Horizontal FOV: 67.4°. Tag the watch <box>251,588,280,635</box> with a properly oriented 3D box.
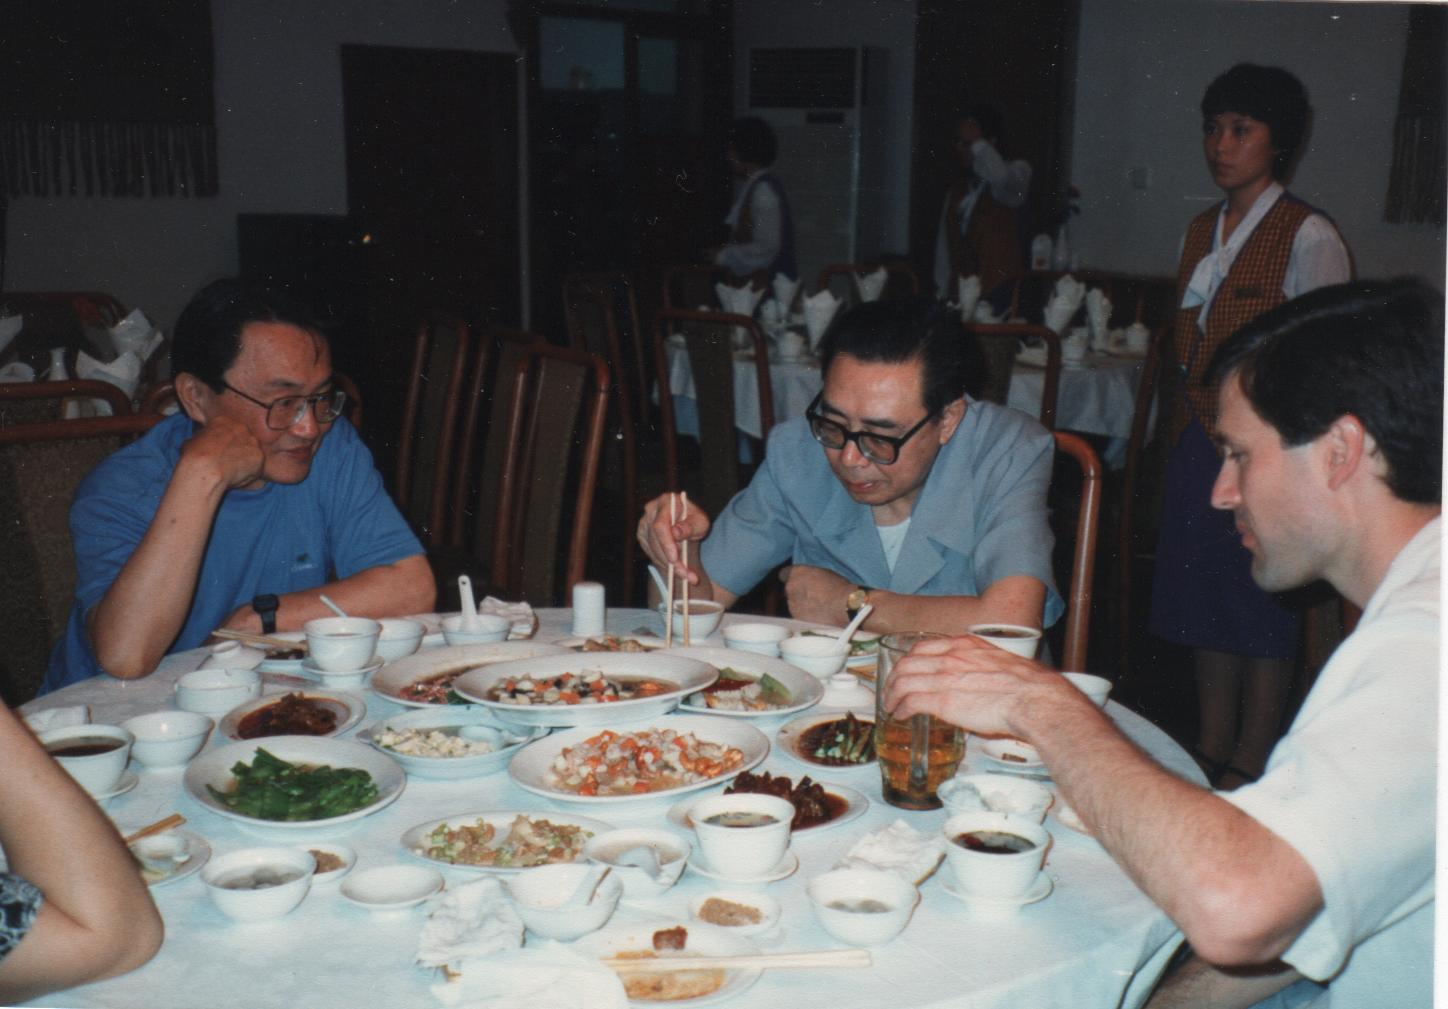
[{"bbox_3d":[-0.926,0.214,2.225,0.055,0.084,0.081,12,14,-4],"label":"watch"}]

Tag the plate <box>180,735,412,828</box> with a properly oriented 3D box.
[{"bbox_3d":[-0.610,0.396,1.543,0.162,0.036,0.157,3,17,-6],"label":"plate"}]

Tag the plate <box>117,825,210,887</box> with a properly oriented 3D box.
[{"bbox_3d":[-0.722,0.457,1.405,0.062,0.010,0.062,8,16,9],"label":"plate"}]

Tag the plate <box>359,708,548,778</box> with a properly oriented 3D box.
[{"bbox_3d":[-0.419,0.366,1.680,0.158,0.032,0.136,-1,4,-34],"label":"plate"}]
